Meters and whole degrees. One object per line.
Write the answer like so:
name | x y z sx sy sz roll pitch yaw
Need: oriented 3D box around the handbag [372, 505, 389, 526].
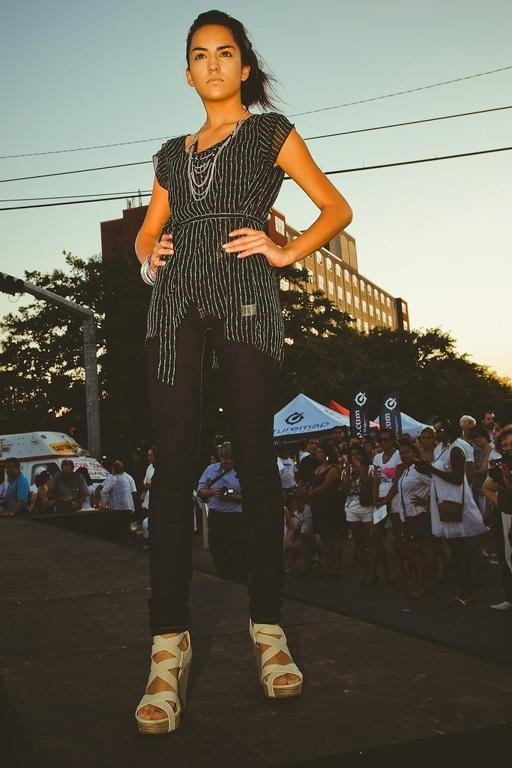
handbag | 1.457 1.520 7.228 0.068 0.184 0.260 33 -12 -29

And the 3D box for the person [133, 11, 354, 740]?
person | -0.045 -0.150 1.894 0.558 2.004 0.457 6 -11 -22

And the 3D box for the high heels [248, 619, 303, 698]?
high heels | 0.061 0.742 1.720 0.127 0.166 0.183 4 -10 -11

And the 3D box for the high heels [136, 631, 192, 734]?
high heels | -0.229 0.726 1.582 0.121 0.166 0.312 3 -9 -5

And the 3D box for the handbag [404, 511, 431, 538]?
handbag | 1.784 1.574 7.010 0.263 0.189 0.247 22 -35 -39

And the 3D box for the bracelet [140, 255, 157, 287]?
bracelet | -0.327 -0.347 1.957 0.039 0.088 0.071 -2 -8 38
